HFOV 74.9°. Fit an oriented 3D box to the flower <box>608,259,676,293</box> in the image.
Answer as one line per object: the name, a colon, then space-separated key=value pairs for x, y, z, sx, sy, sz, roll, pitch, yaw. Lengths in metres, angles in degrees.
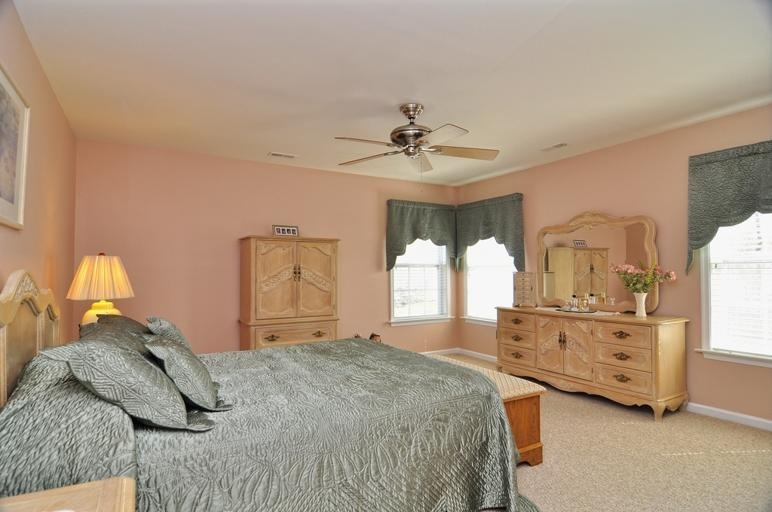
flower: x=2.827 y=0.267 z=5.565 sx=0.450 sy=0.260 sz=0.329 roll=2 pitch=-6 yaw=-3

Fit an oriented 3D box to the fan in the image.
fan: x=0.451 y=-1.181 z=5.195 sx=1.028 sy=0.532 sz=1.481 roll=-1 pitch=-5 yaw=0

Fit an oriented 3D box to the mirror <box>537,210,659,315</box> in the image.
mirror: x=2.477 y=0.164 z=6.230 sx=0.171 sy=0.903 sz=1.123 roll=-19 pitch=20 yaw=-41

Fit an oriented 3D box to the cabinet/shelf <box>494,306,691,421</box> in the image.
cabinet/shelf: x=2.315 y=1.167 z=6.067 sx=0.676 sy=1.024 sz=2.254 roll=-3 pitch=2 yaw=-33

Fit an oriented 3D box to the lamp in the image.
lamp: x=-2.838 y=0.410 z=5.068 sx=0.611 sy=0.836 sz=0.622 roll=4 pitch=-9 yaw=-42

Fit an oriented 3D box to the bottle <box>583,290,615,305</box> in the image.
bottle: x=2.519 y=0.484 z=5.978 sx=0.204 sy=0.127 sz=0.204 roll=0 pitch=-3 yaw=0

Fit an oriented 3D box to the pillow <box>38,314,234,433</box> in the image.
pillow: x=-1.649 y=0.835 z=3.578 sx=1.064 sy=0.678 sz=0.851 roll=0 pitch=-4 yaw=-16
